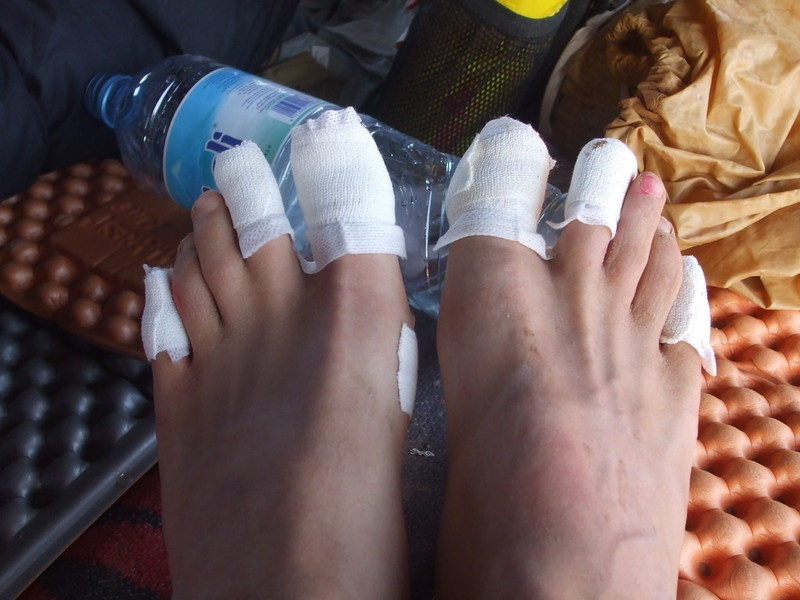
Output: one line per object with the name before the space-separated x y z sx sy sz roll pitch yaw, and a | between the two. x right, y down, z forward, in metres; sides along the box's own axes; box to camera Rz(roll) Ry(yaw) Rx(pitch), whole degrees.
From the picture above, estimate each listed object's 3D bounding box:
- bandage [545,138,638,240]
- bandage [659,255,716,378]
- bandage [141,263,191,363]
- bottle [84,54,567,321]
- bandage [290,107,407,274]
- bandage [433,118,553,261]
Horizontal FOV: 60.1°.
bandage | 0.236 -0.136 0.811 0.069 0.050 0.128 16 80 20
bandage | 0.354 0.019 0.841 0.042 0.075 0.135 2 78 -31
bandage | -0.284 0.020 0.838 0.056 0.035 0.116 -7 85 -13
bottle | -0.150 -0.172 1.067 0.693 0.238 0.251 24 105 6
bandage | -0.058 -0.099 0.812 0.104 0.078 0.213 -13 85 -8
bandage | 0.116 -0.116 0.845 0.141 0.100 0.257 9 54 6
